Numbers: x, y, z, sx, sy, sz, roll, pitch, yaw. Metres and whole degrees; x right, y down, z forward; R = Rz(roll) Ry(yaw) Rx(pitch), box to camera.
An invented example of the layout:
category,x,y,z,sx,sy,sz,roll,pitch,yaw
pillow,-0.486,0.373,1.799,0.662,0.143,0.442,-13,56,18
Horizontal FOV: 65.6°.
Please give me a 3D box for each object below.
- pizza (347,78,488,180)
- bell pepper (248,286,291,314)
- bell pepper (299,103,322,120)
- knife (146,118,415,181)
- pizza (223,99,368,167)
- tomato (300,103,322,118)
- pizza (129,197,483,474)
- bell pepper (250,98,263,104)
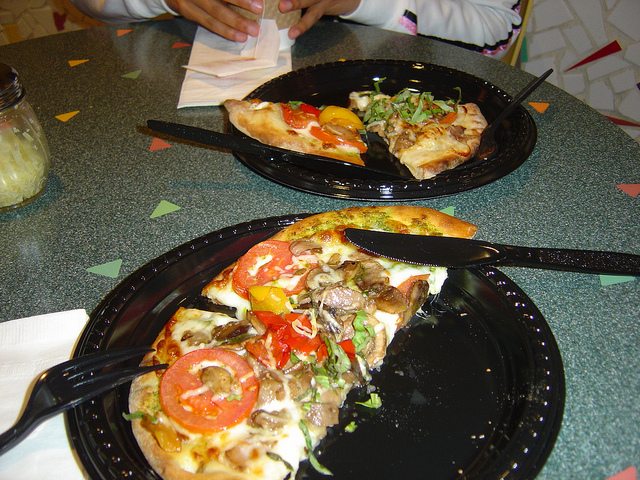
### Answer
category,x,y,z,sx,sy,sz,roll,pitch,yaw
pizza,0.478,-0.498,2.230,0.541,0.116,0.691,-27,48,-14
bell pepper,-0.153,0.178,1.504,0.110,0.038,0.082,22,37,22
bell pepper,-0.046,-0.622,2.384,0.108,0.028,0.048,24,30,0
knife,-0.148,-0.342,1.868,0.966,0.225,0.082,8,72,3
pizza,-0.089,-0.481,2.328,0.701,0.100,0.299,7,49,1
tomato,-0.048,-0.629,2.362,0.111,0.032,0.049,22,28,-5
pizza,-0.072,0.245,1.522,0.651,0.255,1.025,29,71,10
bell pepper,-0.298,-0.651,2.300,0.039,0.012,0.038,13,20,33
